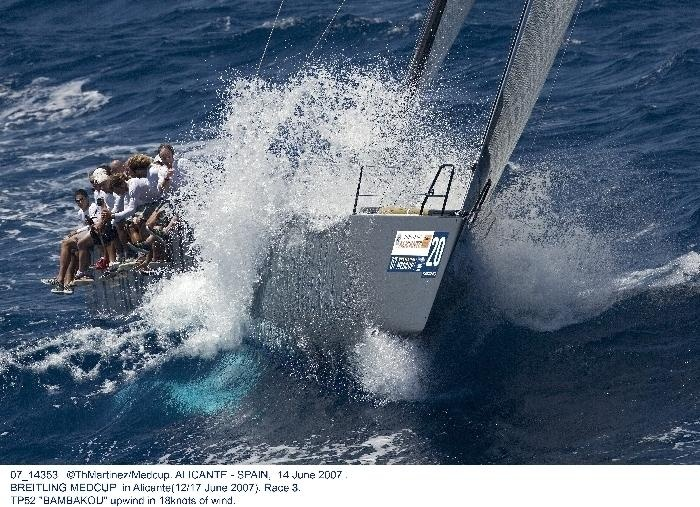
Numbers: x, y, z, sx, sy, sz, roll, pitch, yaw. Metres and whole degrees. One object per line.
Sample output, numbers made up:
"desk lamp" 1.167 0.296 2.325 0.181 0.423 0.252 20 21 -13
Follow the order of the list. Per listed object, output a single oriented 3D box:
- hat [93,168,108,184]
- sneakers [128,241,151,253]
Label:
"hat" -4.225 -1.305 17.660 0.230 0.131 0.269 -5 6 -9
"sneakers" -3.570 -0.112 17.537 0.411 0.144 0.119 17 47 14
